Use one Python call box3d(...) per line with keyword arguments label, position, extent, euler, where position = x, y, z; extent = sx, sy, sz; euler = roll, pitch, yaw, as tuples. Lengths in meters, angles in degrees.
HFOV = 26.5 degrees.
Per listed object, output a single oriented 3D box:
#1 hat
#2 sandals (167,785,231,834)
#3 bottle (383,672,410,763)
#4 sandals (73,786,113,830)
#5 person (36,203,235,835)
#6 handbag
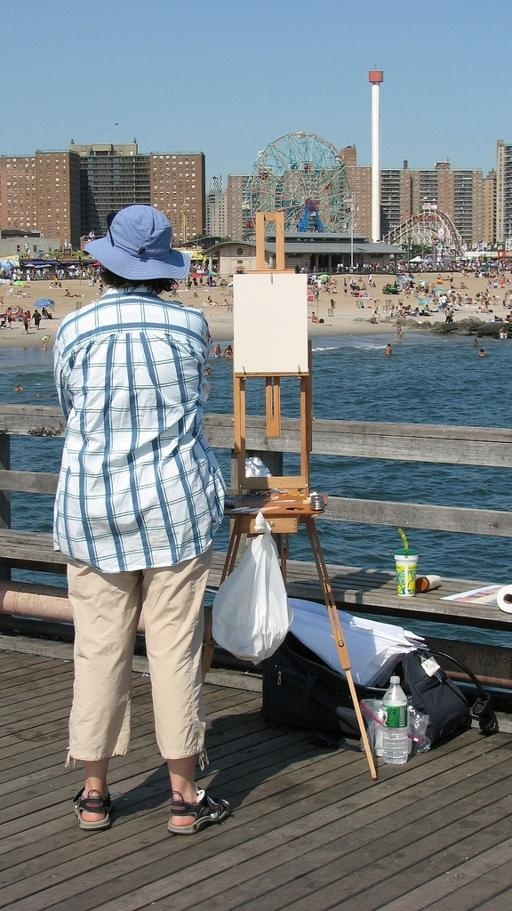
box3d(label="hat", position=(-0.336, -0.609, 3.192), extent=(0.271, 0.147, 0.277), euler=(-2, 28, -29))
box3d(label="sandals", position=(-0.170, 1.064, 3.305), extent=(0.081, 0.110, 0.222), euler=(7, 12, 43))
box3d(label="bottle", position=(0.497, 0.927, 3.831), extent=(0.096, 0.257, 0.193), euler=(0, 7, 7))
box3d(label="sandals", position=(-0.491, 1.064, 3.268), extent=(0.073, 0.069, 0.149), euler=(2, 12, -8))
box3d(label="person", position=(-0.345, 0.195, 3.216), extent=(0.516, 1.859, 0.353), euler=(-2, 6, -4))
box3d(label="handbag", position=(0.385, 0.831, 4.019), extent=(0.554, 0.239, 0.386), euler=(1, 4, 20))
